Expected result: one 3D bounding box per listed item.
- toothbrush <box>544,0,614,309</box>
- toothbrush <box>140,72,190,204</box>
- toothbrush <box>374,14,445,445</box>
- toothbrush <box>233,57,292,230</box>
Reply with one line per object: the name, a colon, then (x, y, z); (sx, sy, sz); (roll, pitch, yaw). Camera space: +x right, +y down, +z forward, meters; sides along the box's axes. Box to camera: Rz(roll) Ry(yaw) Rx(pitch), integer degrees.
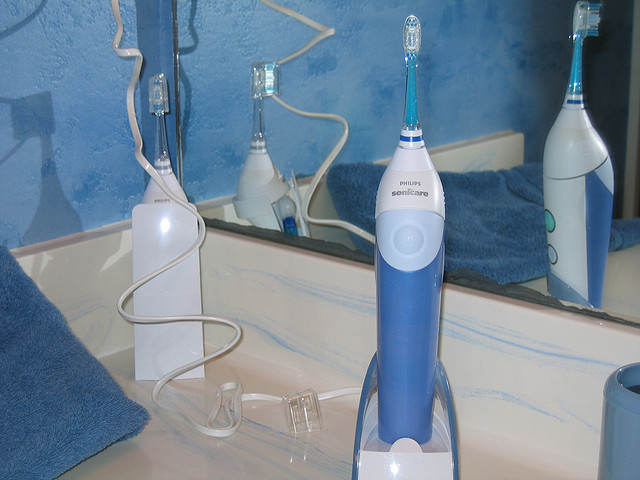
toothbrush: (0.284, -0.090, 0.678); (0.067, 0.320, 0.095); (1, 21, 9)
toothbrush: (-0.237, -0.147, 0.887); (0.063, 0.168, 0.123); (-8, 22, -16)
toothbrush: (0.094, -0.004, 0.643); (0.068, 0.421, 0.146); (3, 21, 15)
toothbrush: (-0.080, -0.132, 0.863); (0.094, 0.229, 0.052); (16, 27, 40)
